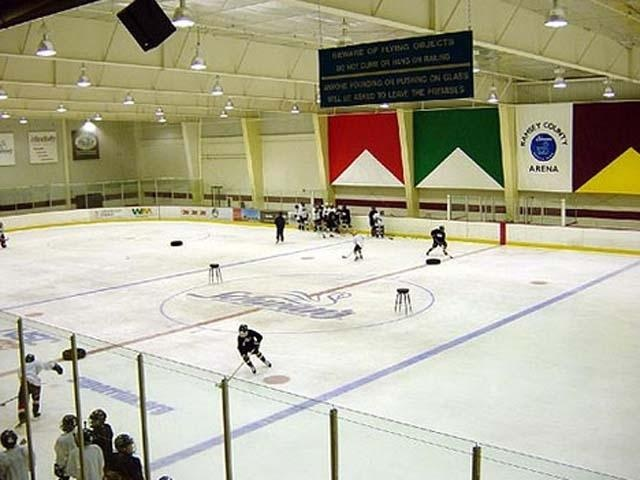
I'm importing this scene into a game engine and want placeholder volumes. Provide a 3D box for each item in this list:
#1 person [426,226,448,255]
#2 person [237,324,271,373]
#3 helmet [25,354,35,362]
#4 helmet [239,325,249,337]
[{"bbox_3d":[5.187,-0.016,22.935,0.862,1.307,2.673,0,4,14],"label":"person"},{"bbox_3d":[-1.378,2.199,11.078,0.639,1.061,1.021,-2,4,-7],"label":"person"},{"bbox_3d":[-3.698,1.503,6.674,0.091,0.104,0.116,0,-11,-10],"label":"helmet"},{"bbox_3d":[-1.548,1.833,10.627,0.202,0.263,0.219,-1,4,1],"label":"helmet"}]
